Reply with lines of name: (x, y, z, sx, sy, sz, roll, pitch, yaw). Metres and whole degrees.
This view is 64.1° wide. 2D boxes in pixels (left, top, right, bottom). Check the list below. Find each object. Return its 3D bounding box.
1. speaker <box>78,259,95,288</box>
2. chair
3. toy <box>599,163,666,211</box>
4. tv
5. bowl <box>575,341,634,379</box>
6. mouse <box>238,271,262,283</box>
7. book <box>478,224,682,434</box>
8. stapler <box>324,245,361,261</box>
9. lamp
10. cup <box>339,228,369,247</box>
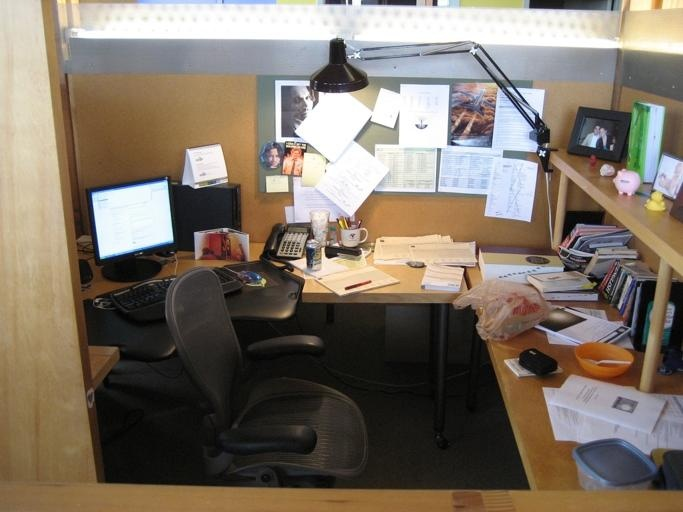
speaker: (-1.083, 0.078, 2.301, 0.072, 0.036, 0.126, -8, 40, -30)
chair: (-0.208, 0.516, 1.876, 0.668, 0.883, 0.576, 8, 23, 5)
toy: (0.991, -0.226, 1.847, 0.085, 0.078, 0.244, -11, 33, -9)
tv: (-0.959, -0.111, 2.493, 0.390, 0.423, 0.287, -15, 29, -36)
bowl: (0.915, 0.376, 1.862, 0.224, 0.090, 0.222, 12, -10, 2)
mouse: (-0.424, 0.095, 2.470, 0.079, 0.024, 0.054, 12, 13, 7)
book: (0.739, 0.278, 1.694, 0.504, 0.313, 0.697, 2, 22, 7)
stapler: (0.008, -0.017, 2.659, 0.201, 0.069, 0.064, 2, 35, 8)
lamp: (0.416, -0.633, 2.459, 1.102, 0.642, 0.257, 0, 20, -2)
cup: (0.058, -0.093, 2.734, 0.132, 0.084, 0.082, 0, 14, -7)
